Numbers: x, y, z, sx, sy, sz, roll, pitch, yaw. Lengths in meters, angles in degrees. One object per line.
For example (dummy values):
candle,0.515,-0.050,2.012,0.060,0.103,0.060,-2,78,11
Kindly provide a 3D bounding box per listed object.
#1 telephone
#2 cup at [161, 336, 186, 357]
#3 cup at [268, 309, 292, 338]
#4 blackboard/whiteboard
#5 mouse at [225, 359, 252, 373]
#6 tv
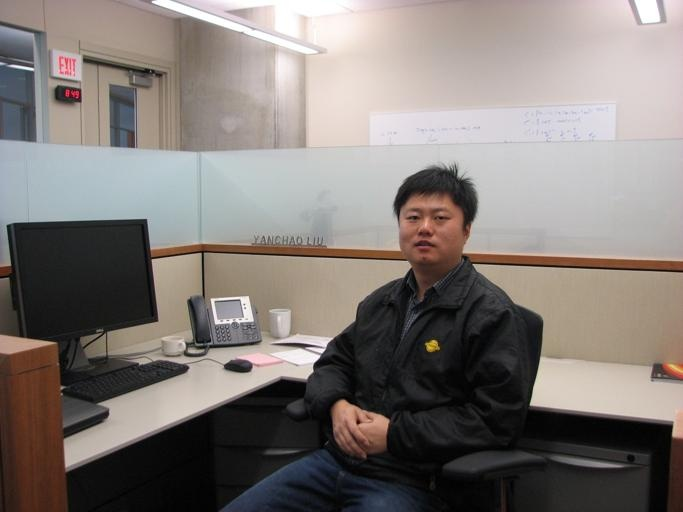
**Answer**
telephone,-0.585,0.323,2.478,0.361,0.215,0.239,0,11,-33
cup,-0.784,0.422,2.292,0.103,0.068,0.078,4,1,0
cup,-0.316,0.358,2.564,0.094,0.112,0.149,0,6,2
blackboard/whiteboard,1.346,-1.222,4.595,2.154,0.428,0.054,0,7,20
mouse,-0.447,0.459,2.100,0.089,0.030,0.055,4,4,28
tv,-1.025,0.164,1.929,0.197,0.603,0.620,-2,3,29
